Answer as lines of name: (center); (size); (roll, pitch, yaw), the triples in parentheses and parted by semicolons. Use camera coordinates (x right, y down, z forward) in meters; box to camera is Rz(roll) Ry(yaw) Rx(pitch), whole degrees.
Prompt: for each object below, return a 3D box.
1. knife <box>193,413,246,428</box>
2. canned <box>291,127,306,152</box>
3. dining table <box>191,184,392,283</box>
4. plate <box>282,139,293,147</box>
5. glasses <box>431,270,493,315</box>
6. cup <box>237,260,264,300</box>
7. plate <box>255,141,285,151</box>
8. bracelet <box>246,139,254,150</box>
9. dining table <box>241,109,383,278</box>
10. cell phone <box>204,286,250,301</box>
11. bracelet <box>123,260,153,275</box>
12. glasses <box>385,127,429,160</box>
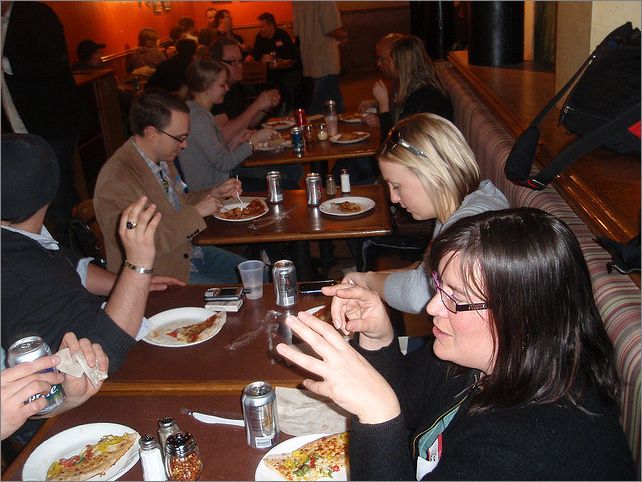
knife: (-0.349, 0.591, 1.555); (0.199, 0.011, 0.038); (4, 32, 12)
canned: (-0.207, -0.890, 4.105); (0.104, 0.189, 0.204); (-8, 32, -5)
dining table: (-0.103, -0.099, 3.207); (0.778, 0.460, 0.747); (-2, 34, 3)
plate: (-0.320, -0.894, 4.316); (0.085, 0.019, 0.076); (-13, 35, -11)
glasses: (0.377, 0.136, 1.203); (0.096, 0.027, 0.090); (-2, 36, -8)
cup: (-0.328, 0.181, 2.288); (0.165, 0.163, 0.161); (-1, 17, 0)
plate: (-0.467, -0.867, 4.299); (0.201, 0.062, 0.112); (-13, 24, 9)
bracelet: (-0.600, -0.822, 4.023); (0.029, 0.090, 0.089); (-12, 64, 4)
dining table: (0.100, -0.400, 4.731); (1.512, 1.414, 1.457); (2, 40, 7)
cell phone: (-0.462, 0.245, 2.190); (0.147, 0.028, 0.081); (-1, 17, 4)
bracelet: (-0.747, 0.114, 1.895); (0.074, 0.024, 0.072); (18, 5, -25)
glasses: (0.401, -0.446, 2.150); (0.169, 0.050, 0.145); (26, 4, -29)
